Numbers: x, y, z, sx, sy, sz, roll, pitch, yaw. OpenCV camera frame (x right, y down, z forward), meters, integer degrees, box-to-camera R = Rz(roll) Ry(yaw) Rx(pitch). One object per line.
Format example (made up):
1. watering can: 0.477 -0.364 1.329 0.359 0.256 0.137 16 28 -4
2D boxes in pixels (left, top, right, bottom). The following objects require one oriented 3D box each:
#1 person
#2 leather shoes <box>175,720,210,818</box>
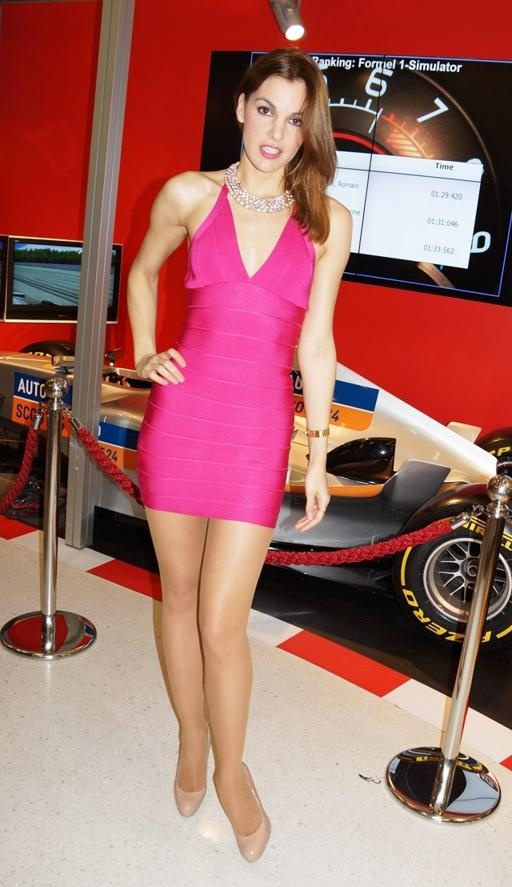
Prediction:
1. person: -0.108 0.063 1.290 0.468 1.587 0.320 9 6 21
2. leather shoes: -0.143 0.737 1.436 0.069 0.219 0.062 4 12 13
